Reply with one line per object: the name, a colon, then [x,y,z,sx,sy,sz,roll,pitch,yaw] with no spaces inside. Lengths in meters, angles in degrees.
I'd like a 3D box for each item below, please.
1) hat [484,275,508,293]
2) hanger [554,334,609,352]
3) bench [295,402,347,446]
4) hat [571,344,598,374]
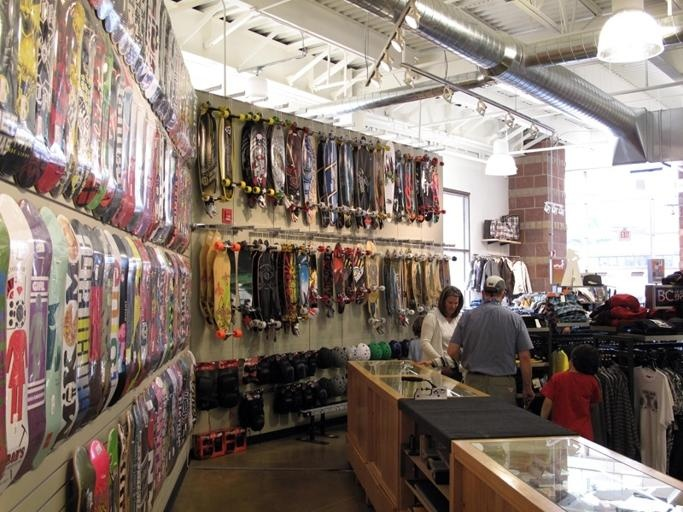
hat: [1.308,0.276,4.659,0.132,0.134,0.208,4,13,22]
hanger: [2.395,0.861,5.425,0.263,0.090,0.311,1,-1,-2]
bench: [-0.226,1.909,6.410,0.525,0.395,0.909,2,-3,-5]
hat: [1.880,0.781,4.270,0.149,0.185,0.238,-3,35,2]
